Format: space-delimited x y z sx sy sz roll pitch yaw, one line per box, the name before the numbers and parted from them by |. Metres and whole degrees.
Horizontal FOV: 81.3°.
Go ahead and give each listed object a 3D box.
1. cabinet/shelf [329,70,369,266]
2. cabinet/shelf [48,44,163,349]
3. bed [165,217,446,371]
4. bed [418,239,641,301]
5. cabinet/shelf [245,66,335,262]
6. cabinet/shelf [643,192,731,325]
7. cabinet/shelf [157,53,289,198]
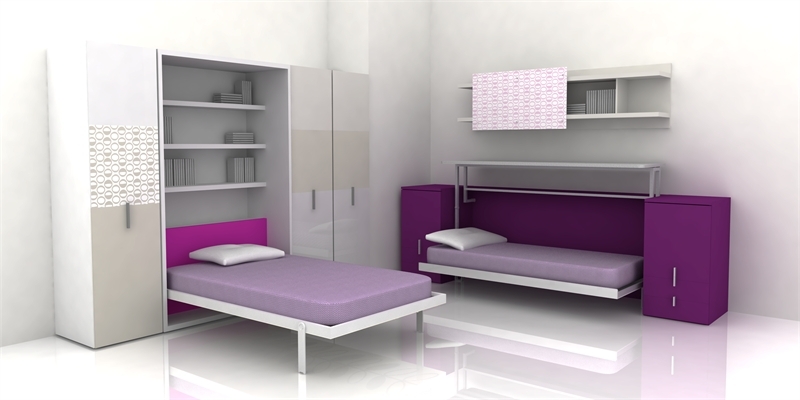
cabinet/shelf | -0.706 -0.297 7.000 0.256 3.156 0.866 15 20 41
cabinet/shelf | -3.401 -0.053 5.373 1.416 3.373 0.747 -4 10 -12
bed | -1.410 0.789 5.436 2.825 0.828 1.779 4 5 37
bed | 1.669 0.742 6.147 2.262 0.232 1.026 1 3 32
cabinet/shelf | -1.497 -0.428 6.844 0.797 2.724 0.990 -20 36 -40
cabinet/shelf | 3.541 0.745 5.846 0.884 1.514 0.382 1 10 20
cabinet/shelf | -2.266 -0.771 6.178 1.707 2.127 0.759 -6 10 -23
